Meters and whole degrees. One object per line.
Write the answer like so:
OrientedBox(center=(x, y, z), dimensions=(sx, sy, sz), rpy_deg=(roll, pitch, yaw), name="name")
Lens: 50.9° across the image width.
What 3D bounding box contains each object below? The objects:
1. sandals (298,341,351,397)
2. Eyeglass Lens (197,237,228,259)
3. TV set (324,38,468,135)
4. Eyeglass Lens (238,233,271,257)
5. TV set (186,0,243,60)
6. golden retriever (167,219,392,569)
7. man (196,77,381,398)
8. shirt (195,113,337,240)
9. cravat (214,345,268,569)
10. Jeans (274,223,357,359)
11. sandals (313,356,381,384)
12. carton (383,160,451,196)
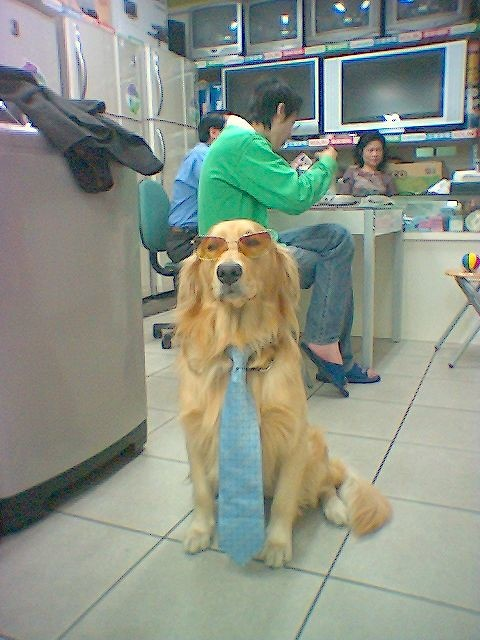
OrientedBox(center=(0.429, 0.222, 2.329), dimensions=(0.100, 0.378, 0.130), rpy_deg=(-35, 1, -4), name="sandals")
OrientedBox(center=(-0.063, -0.159, 1.111), dimensions=(0.054, 0.056, 0.023), rpy_deg=(5, 47, 30), name="Eyeglass Lens")
OrientedBox(center=(1.394, -2.025, 4.361), dimensions=(0.943, 0.576, 0.100), rpy_deg=(2, 9, 20), name="TV set")
OrientedBox(center=(0.034, -0.165, 1.096), dimensions=(0.027, 0.050, 0.099), rpy_deg=(13, 21, 42), name="Eyeglass Lens")
OrientedBox(center=(-0.236, -2.932, 5.077), dimensions=(0.566, 0.531, 0.323), rpy_deg=(6, 14, 30), name="TV set")
OrientedBox(center=(0.074, 0.139, 1.268), dimensions=(0.437, 0.739, 0.565), rpy_deg=(5, 7, 44), name="golden retriever")
OrientedBox(center=(0.233, -0.356, 2.205), dimensions=(0.725, 1.288, 0.533), rpy_deg=(-5, 6, 7), name="man")
OrientedBox(center=(0.089, -0.546, 2.056), dimensions=(0.540, 0.449, 0.451), rpy_deg=(-16, 36, -13), name="shirt")
OrientedBox(center=(-0.001, 0.297, 1.049), dimensions=(0.099, 0.498, 0.020), rpy_deg=(0, 16, 6), name="cravat")
OrientedBox(center=(0.382, -0.164, 2.542), dimensions=(0.491, 0.793, 0.458), rpy_deg=(-1, 3, 4), name="Jeans")
OrientedBox(center=(0.540, 0.252, 2.537), dimensions=(0.288, 0.090, 0.112), rpy_deg=(-1, 7, -2), name="sandals")
OrientedBox(center=(1.484, -1.207, 4.244), dimensions=(0.440, 0.460, 0.284), rpy_deg=(-2, 12, 6), name="carton")
